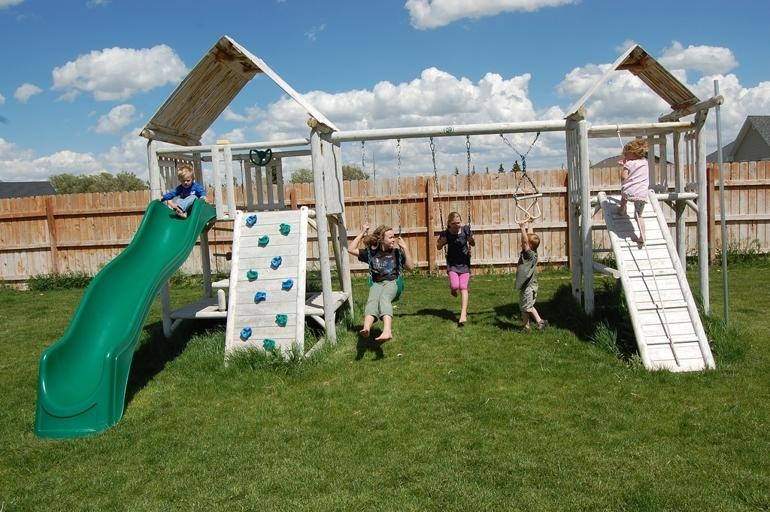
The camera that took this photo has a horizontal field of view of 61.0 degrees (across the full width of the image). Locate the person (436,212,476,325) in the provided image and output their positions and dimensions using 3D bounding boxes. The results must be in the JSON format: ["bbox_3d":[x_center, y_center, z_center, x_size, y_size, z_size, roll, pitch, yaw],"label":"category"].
[{"bbox_3d":[1.159,0.192,10.814,0.675,1.780,0.736,-2,4,14],"label":"person"}]

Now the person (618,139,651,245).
[{"bbox_3d":[3.777,-0.897,9.934,0.529,1.895,0.502,0,1,7],"label":"person"}]

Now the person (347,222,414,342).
[{"bbox_3d":[-0.065,0.308,9.617,0.843,1.854,1.586,1,-4,1],"label":"person"}]

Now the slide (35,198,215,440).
[{"bbox_3d":[-3.730,0.577,9.726,1.084,1.561,4.334,2,31,7],"label":"slide"}]

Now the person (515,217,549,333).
[{"bbox_3d":[2.304,0.300,10.203,0.517,1.757,0.501,1,0,3],"label":"person"}]

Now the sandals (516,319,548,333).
[{"bbox_3d":[2.289,1.112,10.219,0.527,0.230,0.180,0,-4,0],"label":"sandals"}]
